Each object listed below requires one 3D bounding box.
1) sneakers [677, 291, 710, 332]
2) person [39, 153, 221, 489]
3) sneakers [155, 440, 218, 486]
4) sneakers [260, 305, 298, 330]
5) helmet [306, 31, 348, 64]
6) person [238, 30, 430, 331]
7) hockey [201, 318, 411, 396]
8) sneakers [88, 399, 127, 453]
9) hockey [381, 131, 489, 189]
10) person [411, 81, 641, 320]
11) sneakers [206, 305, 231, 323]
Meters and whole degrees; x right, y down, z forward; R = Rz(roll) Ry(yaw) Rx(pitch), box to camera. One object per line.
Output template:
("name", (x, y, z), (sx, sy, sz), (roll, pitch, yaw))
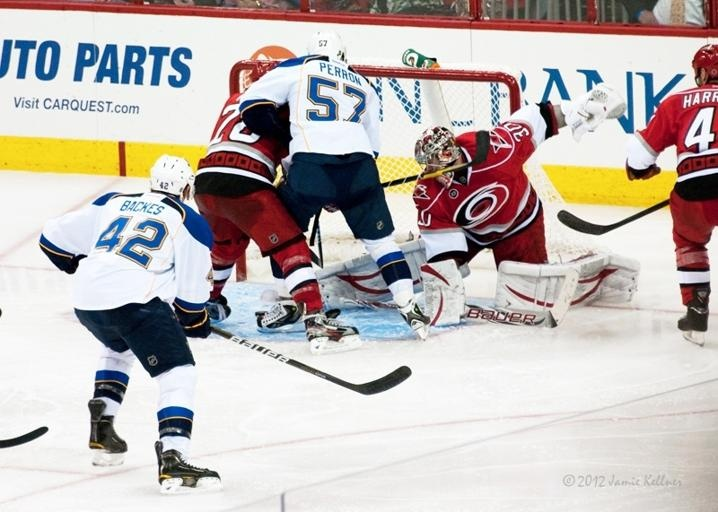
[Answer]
("sneakers", (1.721, 0.281, 5.045), (0.151, 0.224, 0.185), (0, 6, 18))
("person", (-0.874, 0.249, 4.123), (0.519, 1.321, 0.860), (-8, 8, -42))
("sneakers", (-0.638, 0.838, 3.891), (0.316, 0.194, 0.102), (0, -1, -3))
("sneakers", (-0.383, 0.337, 5.292), (0.286, 0.087, 0.138), (-6, -12, 12))
("helmet", (-0.184, -1.076, 5.210), (0.219, 0.220, 0.246), (6, 6, -3))
("person", (-0.134, -0.363, 5.116), (0.909, 1.595, 0.317), (-3, 6, -6))
("hockey", (-0.259, 0.509, 4.812), (1.036, 0.107, 0.143), (14, -10, 21))
("sneakers", (-1.049, 0.722, 4.097), (0.130, 0.204, 0.232), (-6, -21, 17))
("hockey", (0.466, -0.557, 5.183), (0.357, 0.106, 0.447), (-1, -3, 29))
("person", (0.945, -0.322, 5.714), (1.728, 1.487, 0.743), (0, 30, 12))
("sneakers", (-0.760, 0.319, 5.352), (0.133, 0.087, 0.078), (1, 14, -20))
